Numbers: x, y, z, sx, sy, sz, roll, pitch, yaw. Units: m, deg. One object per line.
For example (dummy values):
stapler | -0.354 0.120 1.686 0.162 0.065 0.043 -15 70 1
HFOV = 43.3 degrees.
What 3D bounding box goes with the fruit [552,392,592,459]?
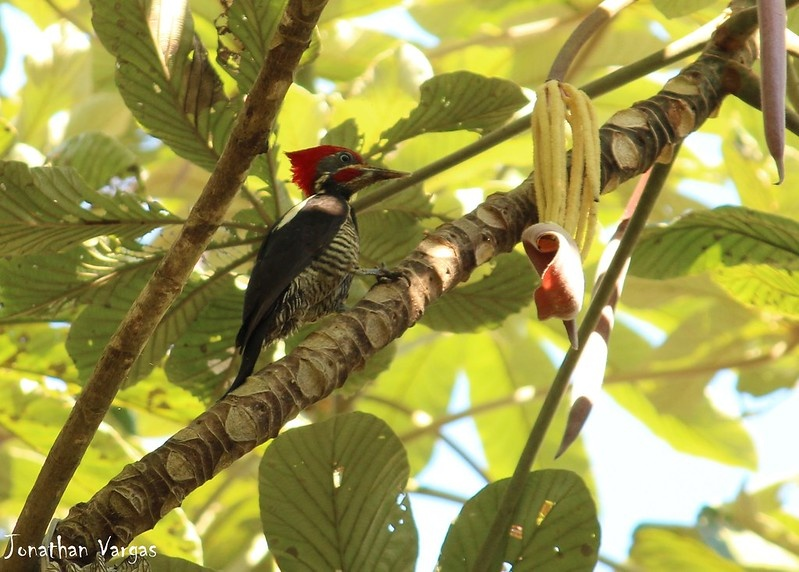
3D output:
fruit | 0.626 0.480 3.586 0.077 0.328 0.032 21 -56 13
